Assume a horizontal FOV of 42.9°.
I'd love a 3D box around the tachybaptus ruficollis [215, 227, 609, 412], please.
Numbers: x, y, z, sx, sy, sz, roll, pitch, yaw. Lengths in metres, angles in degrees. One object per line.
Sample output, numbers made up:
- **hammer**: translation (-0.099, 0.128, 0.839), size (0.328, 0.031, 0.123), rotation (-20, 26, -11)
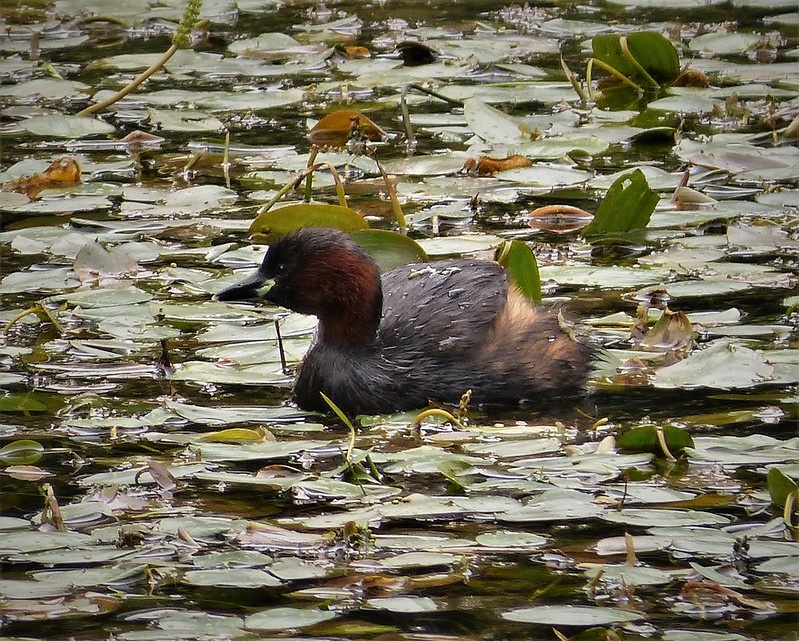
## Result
- **tachybaptus ruficollis**: translation (0.027, -0.011, 5.181), size (1.137, 0.785, 2.401), rotation (29, 23, 32)
